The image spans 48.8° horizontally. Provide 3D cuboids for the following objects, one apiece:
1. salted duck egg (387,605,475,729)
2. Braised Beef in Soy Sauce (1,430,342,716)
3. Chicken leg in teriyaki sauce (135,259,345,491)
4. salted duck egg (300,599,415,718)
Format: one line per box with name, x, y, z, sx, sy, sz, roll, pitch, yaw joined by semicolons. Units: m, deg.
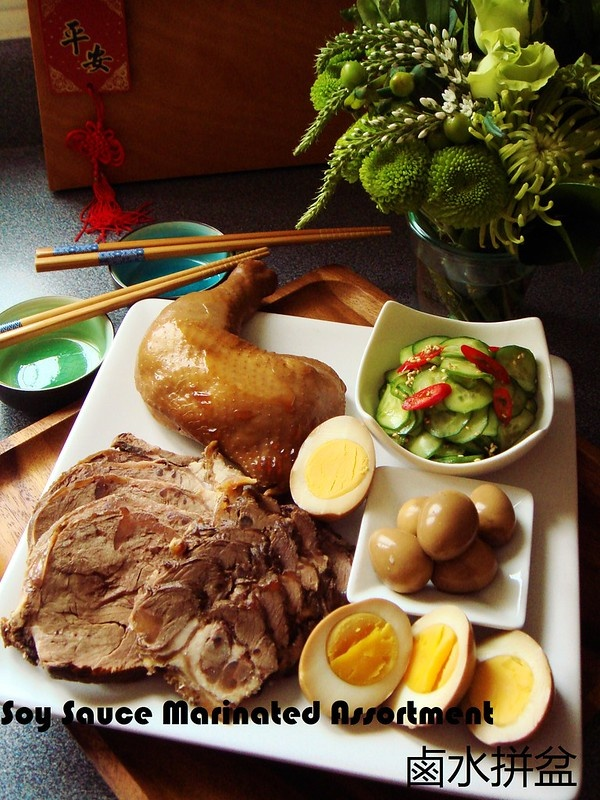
salted duck egg;0.193;0.376;0.944;0.087;0.127;0.164;17;48;15
Braised Beef in Soy Sauce;-0.218;0.262;1.121;0.580;0.188;0.483;17;47;15
Chicken leg in teriyaki sauce;-0.087;-0.034;1.495;0.452;0.192;0.460;45;51;13
salted duck egg;0.090;0.365;0.974;0.189;0.053;0.141;-39;86;-23
